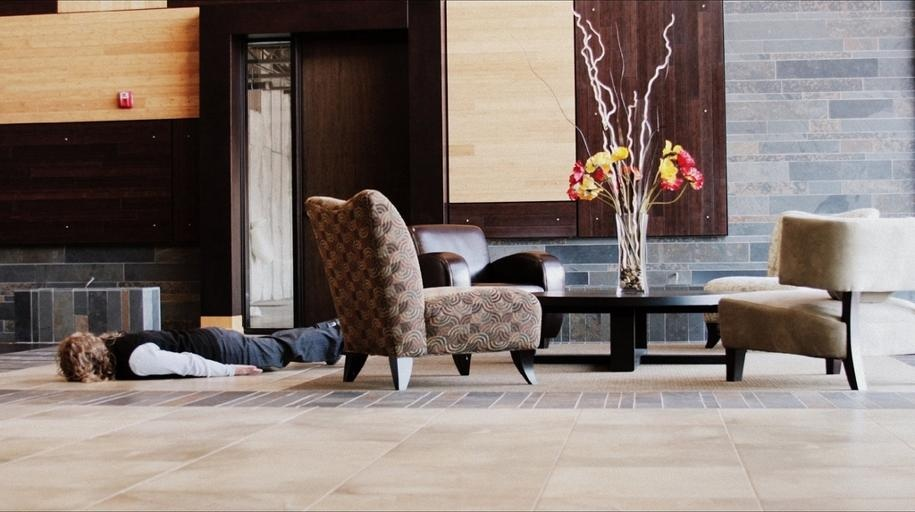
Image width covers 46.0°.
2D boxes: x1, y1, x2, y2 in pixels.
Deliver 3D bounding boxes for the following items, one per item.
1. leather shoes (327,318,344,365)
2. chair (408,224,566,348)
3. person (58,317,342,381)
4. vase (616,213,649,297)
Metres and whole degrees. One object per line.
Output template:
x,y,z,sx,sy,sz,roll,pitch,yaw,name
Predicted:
-1.062,0.762,9.493,0.154,0.353,0.288,0,2,11,leather shoes
0.135,0.251,10.022,1.367,1.004,1.220,3,4,-29,chair
-2.208,0.774,9.205,1.850,0.357,0.850,-1,3,-15,person
1.530,-0.033,9.398,0.281,0.686,0.434,-4,0,8,vase
